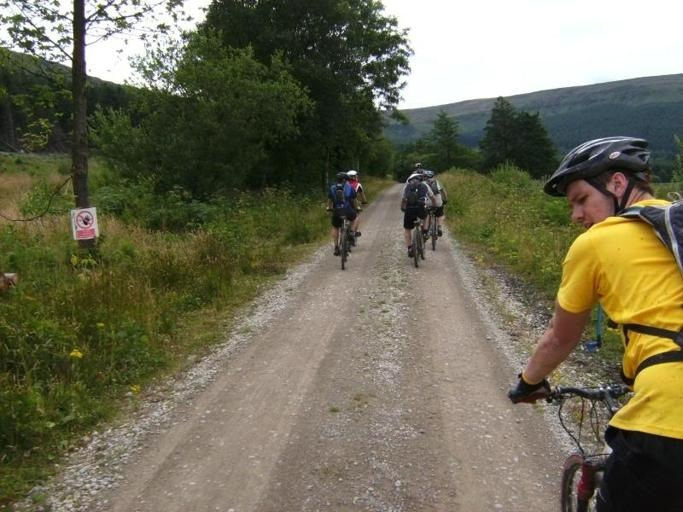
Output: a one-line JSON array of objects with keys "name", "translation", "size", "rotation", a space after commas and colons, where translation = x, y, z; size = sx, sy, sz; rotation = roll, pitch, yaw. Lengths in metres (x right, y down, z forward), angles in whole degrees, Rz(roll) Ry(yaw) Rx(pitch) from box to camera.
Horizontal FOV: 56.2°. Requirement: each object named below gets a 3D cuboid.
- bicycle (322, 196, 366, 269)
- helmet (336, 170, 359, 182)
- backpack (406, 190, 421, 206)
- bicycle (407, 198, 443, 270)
[{"name": "bicycle", "translation": [0.101, -0.511, 15.603], "size": [0.736, 1.014, 1.683], "rotation": [-2, 10, 3]}, {"name": "helmet", "translation": [0.111, -2.030, 15.991], "size": [0.421, 0.242, 0.594], "rotation": [3, 8, 15]}, {"name": "backpack", "translation": [1.701, -1.353, 14.880], "size": [0.278, 0.419, 0.212], "rotation": [9, -13, -8]}, {"name": "bicycle", "translation": [1.979, -0.477, 15.361], "size": [0.762, 0.997, 1.652], "rotation": [1, 19, 14]}]
